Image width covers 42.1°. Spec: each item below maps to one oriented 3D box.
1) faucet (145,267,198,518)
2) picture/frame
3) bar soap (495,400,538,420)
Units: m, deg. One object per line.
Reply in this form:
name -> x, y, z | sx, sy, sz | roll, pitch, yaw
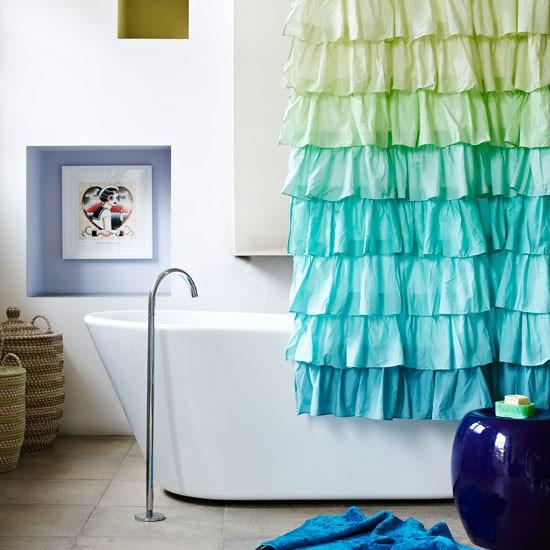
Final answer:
faucet -> -0.386, 0.405, 2.504 | 0.213, 0.851, 0.267 | -1, 3, 15
picture/frame -> -0.886, -0.350, 3.754 | 0.417, 0.518, 0.023 | -2, 41, -17
bar soap -> 0.714, 0.400, 2.116 | 0.115, 0.043, 0.086 | -1, 3, 20
